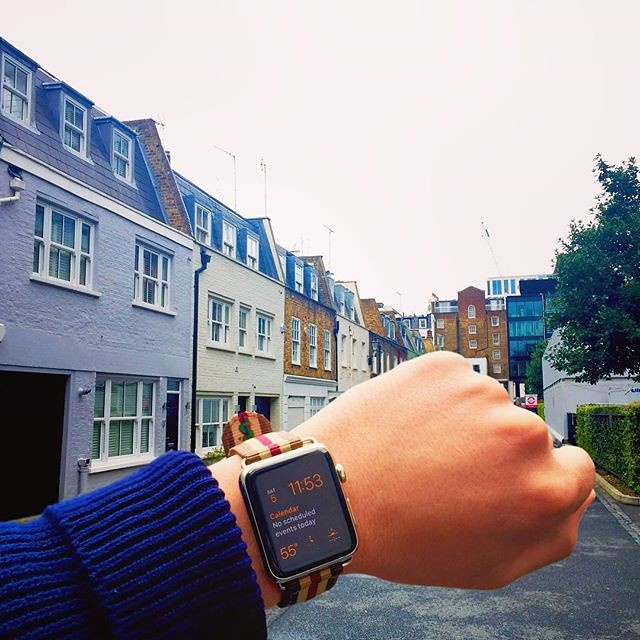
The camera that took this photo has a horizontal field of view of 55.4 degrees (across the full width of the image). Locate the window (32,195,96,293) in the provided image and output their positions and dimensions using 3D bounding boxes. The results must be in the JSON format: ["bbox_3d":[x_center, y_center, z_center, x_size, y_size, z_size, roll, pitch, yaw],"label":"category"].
[{"bbox_3d":[-4.582,-1.359,10.787,0.234,2.083,1.534,3,6,17],"label":"window"}]

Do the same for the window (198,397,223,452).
[{"bbox_3d":[-2.931,2.749,16.525,0.332,1.373,1.414,0,-4,10],"label":"window"}]

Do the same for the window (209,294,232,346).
[{"bbox_3d":[-2.851,-0.026,17.183,0.162,1.187,1.225,-3,-6,15],"label":"window"}]

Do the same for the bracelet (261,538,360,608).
[{"bbox_3d":[-0.019,0.466,1.112,0.176,0.108,0.090,3,-4,-28],"label":"bracelet"}]

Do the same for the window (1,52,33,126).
[{"bbox_3d":[-5.361,-4.035,10.746,0.230,1.098,0.740,0,-4,16],"label":"window"}]
